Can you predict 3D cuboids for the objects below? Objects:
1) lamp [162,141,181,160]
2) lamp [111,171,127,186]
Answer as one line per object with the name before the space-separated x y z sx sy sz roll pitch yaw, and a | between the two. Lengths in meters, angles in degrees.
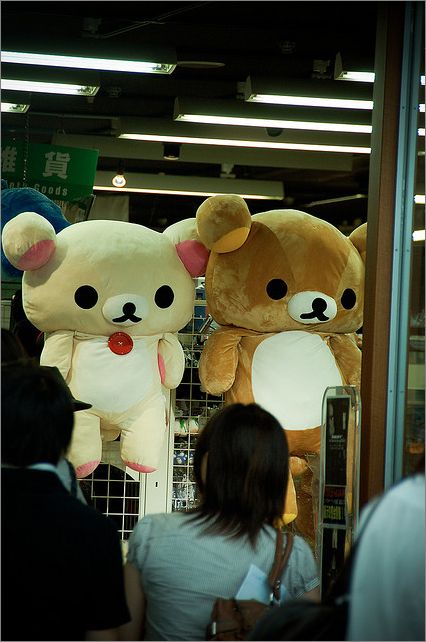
lamp | -0.389 -1.576 6.183 0.177 0.161 0.166 0 2 -16
lamp | -0.935 -1.411 6.561 0.131 0.119 0.138 -1 -1 -6
